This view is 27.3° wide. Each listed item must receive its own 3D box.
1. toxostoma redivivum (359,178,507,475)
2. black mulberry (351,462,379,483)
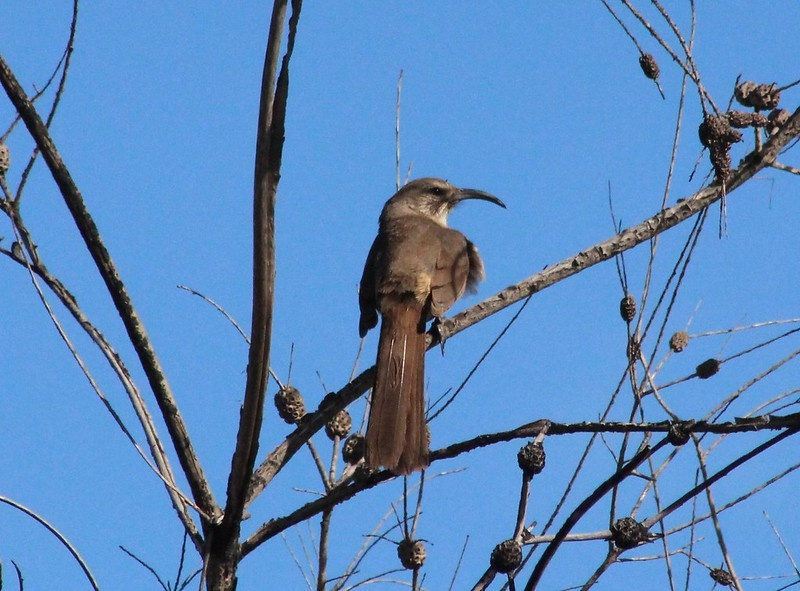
[{"bbox_3d":[0.124,0.056,9.515,0.664,2.462,1.263,-1,-80,9],"label":"toxostoma redivivum"},{"bbox_3d":[-0.171,0.797,7.524,0.081,0.088,0.039,-30,-96,7],"label":"black mulberry"}]
